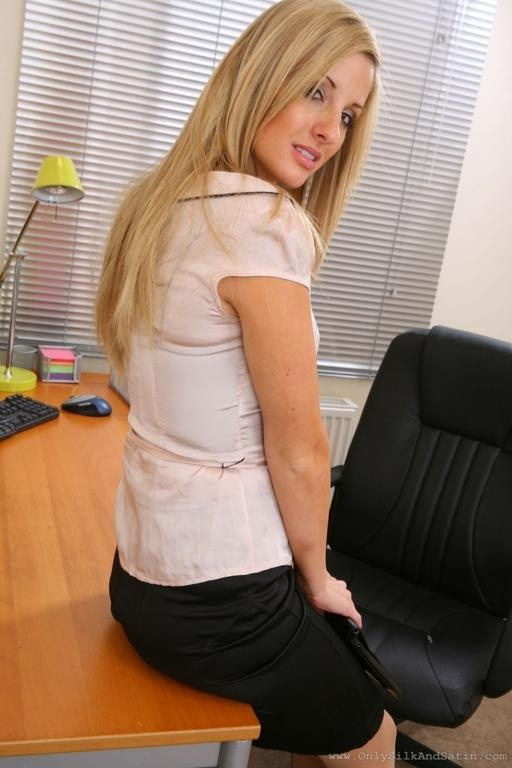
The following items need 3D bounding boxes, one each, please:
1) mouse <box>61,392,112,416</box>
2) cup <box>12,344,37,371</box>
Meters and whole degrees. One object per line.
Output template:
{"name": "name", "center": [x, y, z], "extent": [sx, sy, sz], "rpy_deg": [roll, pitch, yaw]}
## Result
{"name": "mouse", "center": [-0.549, 0.059, 1.752], "extent": [0.123, 0.048, 0.075], "rpy_deg": [8, 7, 2]}
{"name": "cup", "center": [-0.872, -0.101, 2.047], "extent": [0.092, 0.100, 0.079], "rpy_deg": [3, 12, -16]}
